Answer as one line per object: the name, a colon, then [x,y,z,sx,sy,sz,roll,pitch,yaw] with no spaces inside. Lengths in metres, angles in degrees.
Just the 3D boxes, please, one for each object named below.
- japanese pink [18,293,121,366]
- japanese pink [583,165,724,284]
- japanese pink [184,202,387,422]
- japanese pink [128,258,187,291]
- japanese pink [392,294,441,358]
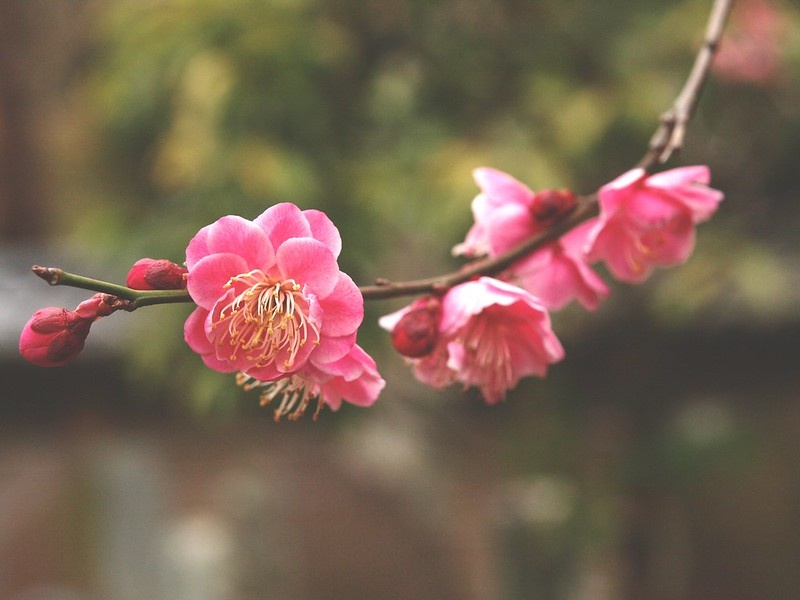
japanese pink: [-0.288,0.027,0.937,0.088,0.052,0.045,-33,33,-3]
japanese pink: [0.219,-0.068,0.959,0.089,0.111,0.097,-1,99,3]
japanese pink: [-0.100,0.011,0.953,0.161,0.073,0.166,-15,87,14]
japanese pink: [-0.210,-0.018,0.942,0.038,0.018,0.031,12,56,13]
japanese pink: [0.015,0.020,0.940,0.038,0.044,0.048,-7,100,-4]
